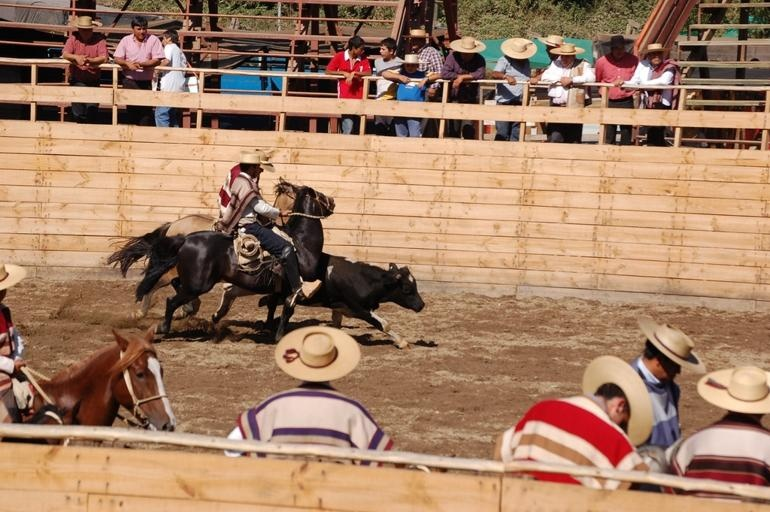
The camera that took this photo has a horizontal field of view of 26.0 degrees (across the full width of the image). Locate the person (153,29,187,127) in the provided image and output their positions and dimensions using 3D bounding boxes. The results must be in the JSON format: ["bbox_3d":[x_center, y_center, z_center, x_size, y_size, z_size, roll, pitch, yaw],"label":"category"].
[{"bbox_3d":[-5.080,-4.307,40.008,1.086,2.255,0.886,4,-3,-21],"label":"person"}]

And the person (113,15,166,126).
[{"bbox_3d":[-5.706,-4.453,39.586,1.326,2.492,1.139,3,-3,-10],"label":"person"}]

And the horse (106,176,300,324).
[{"bbox_3d":[-2.915,0.073,36.014,5.220,2.979,1.146,-5,20,14],"label":"horse"}]

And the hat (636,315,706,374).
[{"bbox_3d":[5.163,1.618,30.323,1.034,0.978,0.533,0,-6,1],"label":"hat"}]

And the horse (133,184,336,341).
[{"bbox_3d":[-3.591,0.115,36.040,7.036,3.390,3.255,-2,-3,40],"label":"horse"}]
